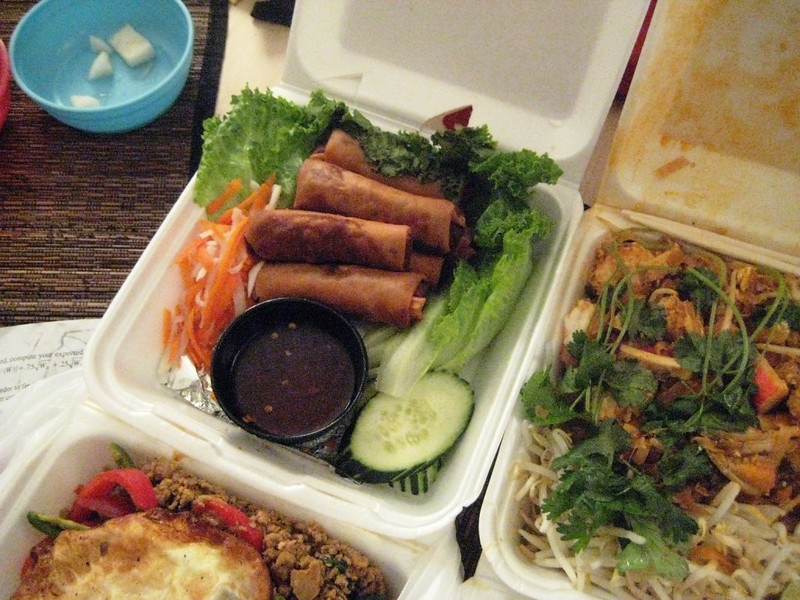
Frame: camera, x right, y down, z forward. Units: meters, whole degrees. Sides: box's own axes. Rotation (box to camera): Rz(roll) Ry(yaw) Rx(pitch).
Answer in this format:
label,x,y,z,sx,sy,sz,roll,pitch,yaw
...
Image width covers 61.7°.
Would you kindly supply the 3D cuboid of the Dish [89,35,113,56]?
label,x,y,z,sx,sy,sz,roll,pitch,yaw
Dish,-1.611,-1.371,3.595,0.105,0.026,0.110,-23,83,8
